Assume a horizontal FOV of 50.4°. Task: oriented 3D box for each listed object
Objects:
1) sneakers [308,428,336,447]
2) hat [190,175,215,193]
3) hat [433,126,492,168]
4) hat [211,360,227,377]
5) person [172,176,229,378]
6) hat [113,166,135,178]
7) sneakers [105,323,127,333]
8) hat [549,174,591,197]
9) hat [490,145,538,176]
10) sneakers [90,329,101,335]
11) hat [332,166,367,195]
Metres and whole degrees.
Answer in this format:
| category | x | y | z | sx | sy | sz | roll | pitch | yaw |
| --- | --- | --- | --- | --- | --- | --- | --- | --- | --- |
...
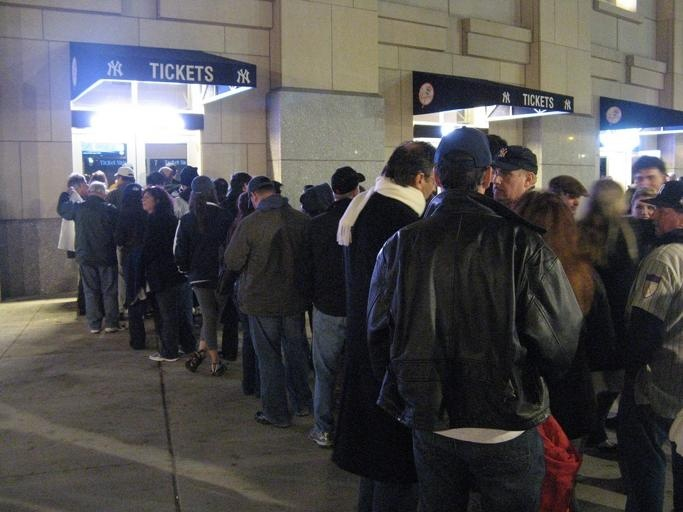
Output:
| category | x | y | z | sx | sy | sz | roll | pitch | yaw |
| --- | --- | --- | --- | --- | --- | --- | --- | --- | --- |
| sneakers | -0.189 | 1.699 | 6.812 | 0.094 | 0.124 | 0.260 | 6 | 4 | -30 |
| hat | -1.637 | -0.834 | 8.496 | 0.246 | 0.183 | 0.264 | -2 | 11 | -12 |
| hat | 0.770 | -0.681 | 4.440 | 0.306 | 0.254 | 0.510 | 7 | 19 | 19 |
| hat | -1.473 | 1.345 | 8.587 | 0.092 | 0.112 | 0.248 | 0 | -23 | -6 |
| person | -1.646 | 0.250 | 8.521 | 0.643 | 2.316 | 0.510 | 2 | 11 | 9 |
| hat | -3.465 | -1.318 | 11.350 | 0.363 | 0.213 | 0.276 | 10 | 13 | 28 |
| sneakers | -3.329 | 1.069 | 10.677 | 0.127 | 0.155 | 0.353 | 3 | -6 | 15 |
| hat | 1.949 | -0.596 | 6.270 | 0.337 | 0.145 | 0.275 | 7 | 9 | -10 |
| hat | 1.331 | -0.705 | 5.583 | 0.293 | 0.158 | 0.214 | 17 | 5 | -1 |
| sneakers | -3.570 | 1.087 | 10.441 | 0.156 | 0.062 | 0.170 | -4 | 12 | -21 |
| hat | 0.067 | -0.699 | 6.771 | 0.209 | 0.178 | 0.337 | 4 | 31 | 23 |
